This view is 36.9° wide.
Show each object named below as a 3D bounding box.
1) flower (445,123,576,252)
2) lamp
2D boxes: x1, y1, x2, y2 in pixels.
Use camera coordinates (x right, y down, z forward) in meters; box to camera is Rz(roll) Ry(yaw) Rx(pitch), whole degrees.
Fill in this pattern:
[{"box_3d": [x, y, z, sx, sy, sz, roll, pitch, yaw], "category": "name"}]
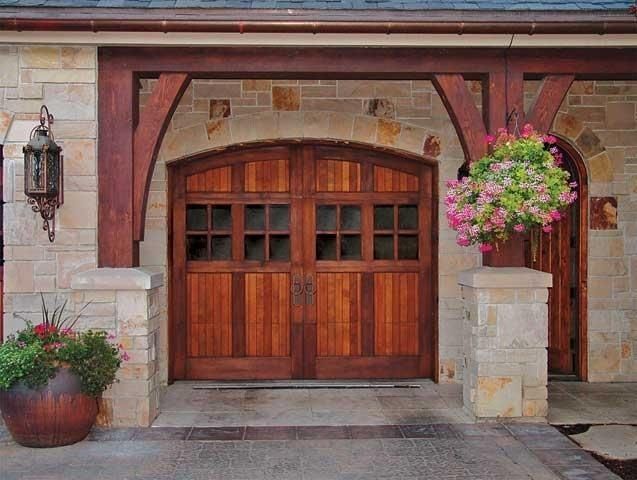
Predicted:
[{"box_3d": [1.735, -0.514, 8.602, 1.117, 0.695, 0.926, -21, 12, 3], "category": "flower"}, {"box_3d": [-2.516, -0.601, 8.659, 0.330, 1.234, 0.429, 0, -3, 3], "category": "lamp"}]
